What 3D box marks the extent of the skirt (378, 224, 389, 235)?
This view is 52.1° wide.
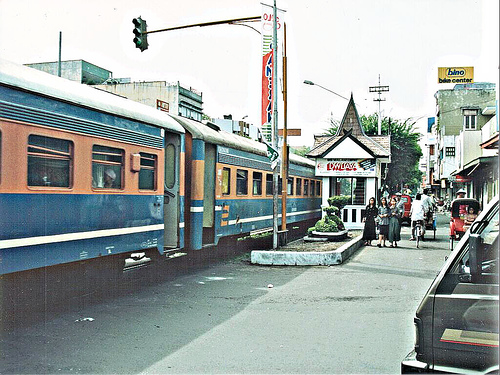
[{"bbox_3d":[4.972,1.550,19.037,0.327,0.372,0.316,0,-6,2],"label":"skirt"}]

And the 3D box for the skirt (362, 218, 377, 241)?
[{"bbox_3d":[4.508,1.569,19.599,0.651,1.069,0.722,1,-4,16],"label":"skirt"}]

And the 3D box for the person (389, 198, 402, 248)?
[{"bbox_3d":[5.394,1.282,19.034,0.450,1.433,0.851,-1,-1,16],"label":"person"}]

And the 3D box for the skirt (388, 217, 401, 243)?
[{"bbox_3d":[5.360,1.557,18.998,0.471,0.741,0.338,-1,-1,-6],"label":"skirt"}]

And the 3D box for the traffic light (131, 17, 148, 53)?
[{"bbox_3d":[-3.263,-4.517,15.157,0.411,1.106,0.702,-1,-1,-13],"label":"traffic light"}]

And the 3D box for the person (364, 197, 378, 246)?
[{"bbox_3d":[4.703,1.295,19.851,0.547,1.402,0.746,-1,-1,12],"label":"person"}]
